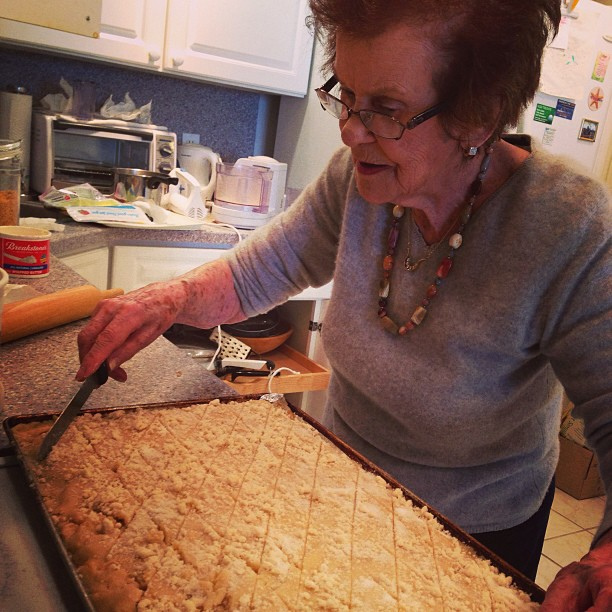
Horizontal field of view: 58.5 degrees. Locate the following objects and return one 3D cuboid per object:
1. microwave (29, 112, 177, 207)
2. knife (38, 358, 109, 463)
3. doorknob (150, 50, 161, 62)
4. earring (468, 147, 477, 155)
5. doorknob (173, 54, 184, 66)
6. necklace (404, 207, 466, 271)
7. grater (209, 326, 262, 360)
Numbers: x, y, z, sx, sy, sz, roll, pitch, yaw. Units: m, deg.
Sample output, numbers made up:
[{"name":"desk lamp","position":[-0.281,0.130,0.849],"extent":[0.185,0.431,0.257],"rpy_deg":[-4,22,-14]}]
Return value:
[{"name":"microwave","position":[-0.722,-0.549,2.252],"extent":[0.589,0.322,0.321],"rpy_deg":[11,8,12]},{"name":"knife","position":[-0.323,0.145,0.777],"extent":[0.012,0.034,0.132],"rpy_deg":[-20,32,34]},{"name":"doorknob","position":[-0.619,-1.033,2.249],"extent":[0.036,0.032,0.047],"rpy_deg":[1,-1,42]},{"name":"earring","position":[0.245,-0.227,0.801],"extent":[0.011,0.013,0.008],"rpy_deg":[0,24,-1]},{"name":"doorknob","position":[-0.534,-1.032,2.292],"extent":[0.046,0.039,0.023],"rpy_deg":[0,1,-21]},{"name":"necklace","position":[0.213,-0.106,0.929],"extent":[0.082,0.080,0.098],"rpy_deg":[3,15,4]},{"name":"grater","position":[-0.273,0.156,2.101],"extent":[0.179,0.091,0.040],"rpy_deg":[20,-16,8]}]
